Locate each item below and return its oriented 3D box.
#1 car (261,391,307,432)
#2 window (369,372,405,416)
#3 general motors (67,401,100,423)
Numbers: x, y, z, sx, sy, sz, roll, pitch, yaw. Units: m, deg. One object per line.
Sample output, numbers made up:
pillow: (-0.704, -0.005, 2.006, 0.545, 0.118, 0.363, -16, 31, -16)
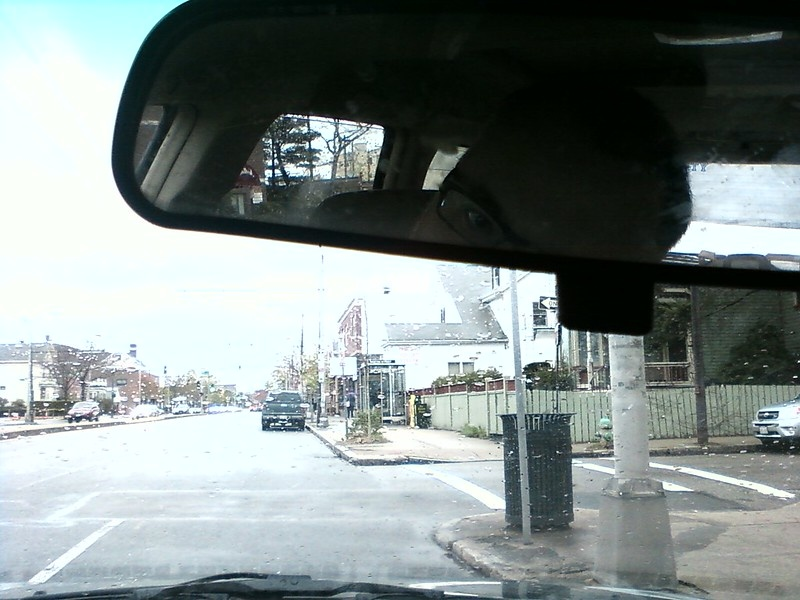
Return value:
car: (-5.191, 4.779, 40.456, 2.007, 1.171, 3.059, 1, 2, -4)
window: (-0.638, 3.759, 36.461, 1.759, 1.760, 1.501, -2, -2, -2)
general motors: (-20.123, 7.069, 56.566, 1.251, 0.800, 1.957, 1, -17, -9)
